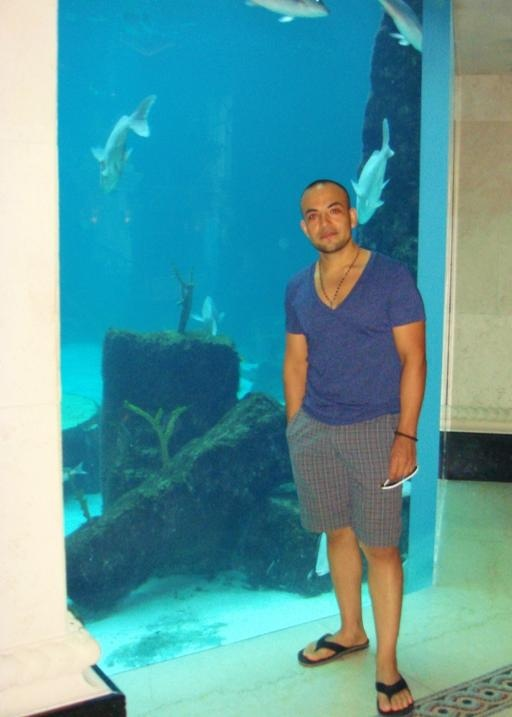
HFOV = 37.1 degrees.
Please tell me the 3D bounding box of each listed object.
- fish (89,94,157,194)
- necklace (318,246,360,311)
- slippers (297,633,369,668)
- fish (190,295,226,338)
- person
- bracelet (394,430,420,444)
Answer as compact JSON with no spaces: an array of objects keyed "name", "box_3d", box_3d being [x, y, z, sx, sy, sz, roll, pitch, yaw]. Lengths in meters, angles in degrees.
[{"name":"fish","box_3d":[-0.785,-1.218,4.394,0.219,0.712,0.273,27,-9,-31]},{"name":"necklace","box_3d":[0.294,-0.284,2.763,0.145,0.216,0.038,-8,-19,42]},{"name":"slippers","box_3d":[0.282,1.109,2.877,0.246,0.069,0.096,0,-3,-20]},{"name":"fish","box_3d":[-0.289,-0.267,4.919,0.065,0.258,0.180,-1,4,36]},{"name":"person","box_3d":[0.335,0.262,2.788,0.317,1.806,0.658,-6,4,-35]},{"name":"bracelet","box_3d":[0.534,0.269,2.661,0.108,0.043,0.058,-5,4,-28]}]
